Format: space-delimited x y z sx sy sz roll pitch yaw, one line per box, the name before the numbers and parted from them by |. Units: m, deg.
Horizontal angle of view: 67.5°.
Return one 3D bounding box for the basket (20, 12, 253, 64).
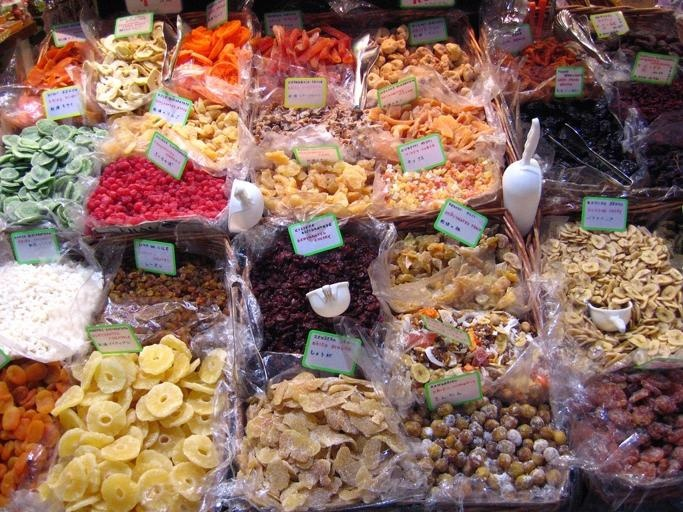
basket | -1.281 -1.321 3.135 1.207 0.085 0.288 -4 62 1
